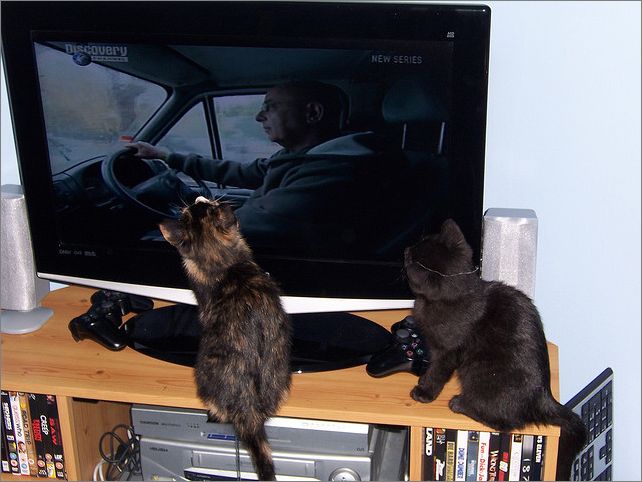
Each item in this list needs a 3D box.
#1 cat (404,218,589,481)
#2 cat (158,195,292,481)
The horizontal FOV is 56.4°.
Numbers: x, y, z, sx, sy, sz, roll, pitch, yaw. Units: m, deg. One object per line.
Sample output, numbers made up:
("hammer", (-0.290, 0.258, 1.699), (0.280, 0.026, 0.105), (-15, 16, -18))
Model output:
("cat", (0.447, 0.294, 1.554), (0.497, 0.665, 0.182), (9, 11, 23))
("cat", (-0.215, 0.214, 1.606), (0.260, 0.804, 0.351), (-12, -1, -8))
